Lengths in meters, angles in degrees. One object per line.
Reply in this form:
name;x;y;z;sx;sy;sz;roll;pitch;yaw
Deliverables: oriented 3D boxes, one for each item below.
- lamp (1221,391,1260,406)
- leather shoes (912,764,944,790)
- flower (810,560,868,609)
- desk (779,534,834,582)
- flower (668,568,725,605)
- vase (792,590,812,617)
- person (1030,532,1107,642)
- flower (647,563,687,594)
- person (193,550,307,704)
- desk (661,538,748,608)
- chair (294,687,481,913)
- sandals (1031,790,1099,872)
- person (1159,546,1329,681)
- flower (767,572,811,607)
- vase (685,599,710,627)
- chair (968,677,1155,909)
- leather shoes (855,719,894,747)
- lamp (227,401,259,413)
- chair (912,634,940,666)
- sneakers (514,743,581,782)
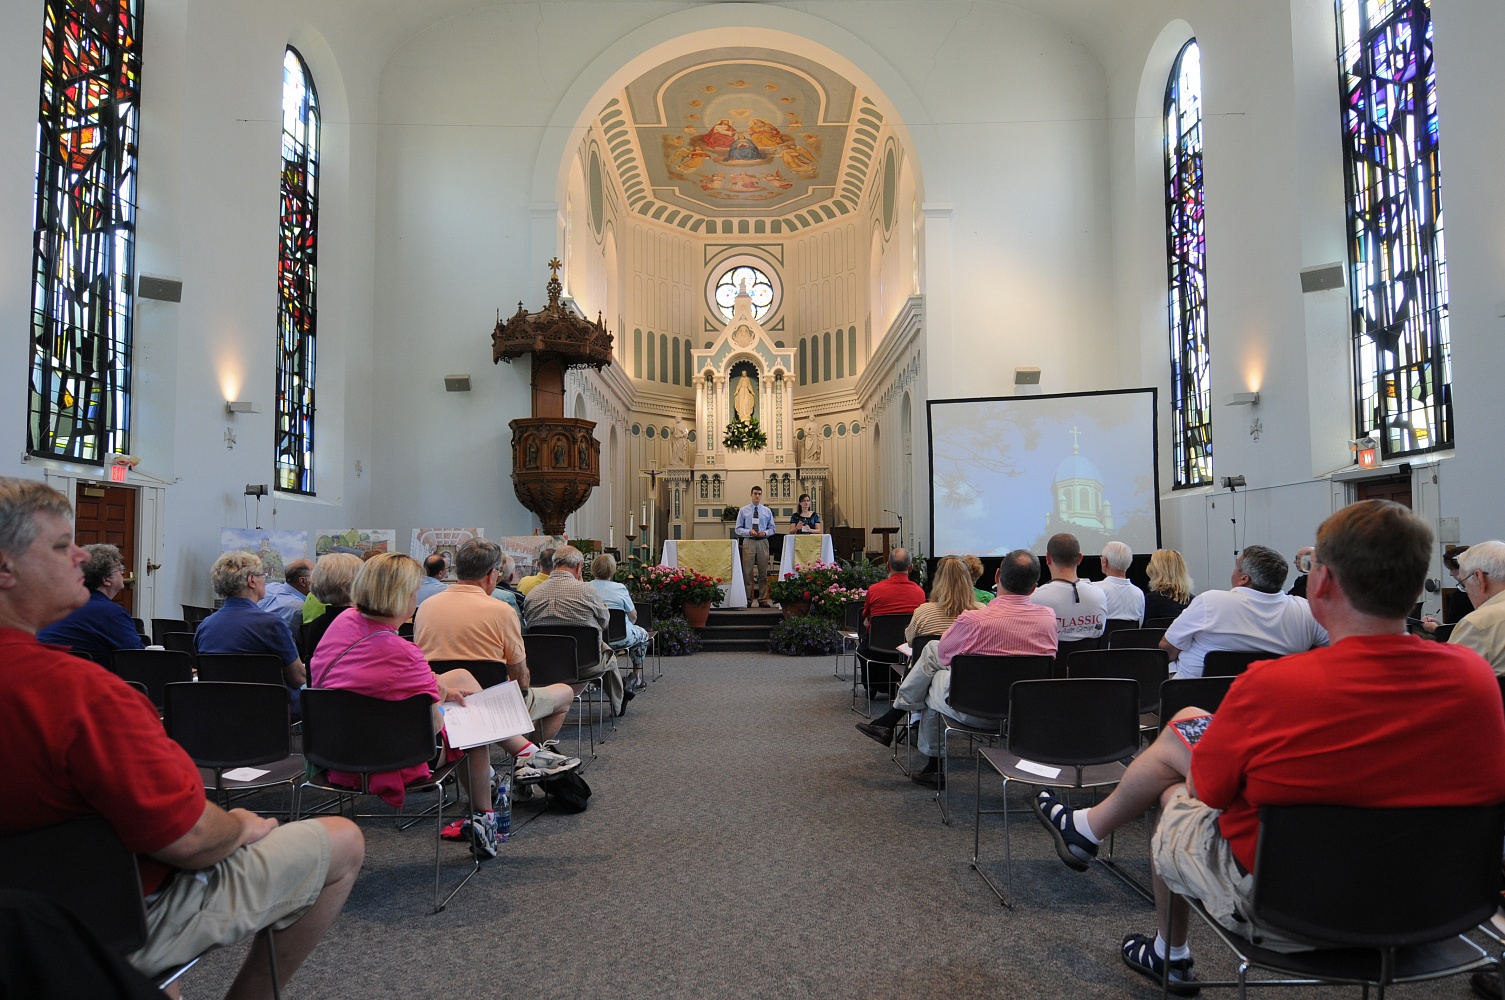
lamp;5.581;-1.158;13.482;0.156;0.186;0.465;-1;8;-5
leather shoes;1.243;1.928;8.274;0.253;0.254;0.123;4;-7;4
flower;1.063;1.122;15.860;0.582;0.429;0.607;2;2;34
desk;0.792;0.838;17.192;0.642;0.497;0.661;0;-3;4
flower;-0.778;1.158;15.859;0.468;0.336;0.474;6;-1;3
vase;0.664;1.426;15.998;0.245;0.182;0.244;-1;4;-31
person;2.197;0.636;8.351;0.564;0.800;0.538;-3;1;-31
flower;-1.147;1.031;15.660;0.346;0.304;0.351;1;2;-10
person;-3.346;0.901;7.964;0.732;1.125;0.757;0;-5;-40
desk;-0.635;1.065;16.903;1.008;0.761;1.002;1;0;0
chair;-2.127;1.602;6.920;0.908;1.314;0.902;0;4;2
sandals;1.582;1.621;5.974;0.177;0.207;0.499;14;22;-20
person;2.986;0.697;7.213;0.808;1.005;0.513;4;5;4
flower;0.549;1.219;15.989;0.420;0.396;0.426;3;-10;-16
vase;-0.737;1.529;15.948;0.301;0.233;0.309;1;-9;-6
chair;1.871;1.691;7.050;0.980;1.315;1.102;-2;-2;19
leather shoes;0.862;1.697;8.714;0.373;0.165;0.126;9;2;39
lamp;-5.957;-1.084;13.799;0.301;0.158;0.330;-5;9;-32
chair;1.229;1.030;8.309;0.151;0.263;0.175;5;-8;-15
sneakers;-1.306;1.650;7.456;0.457;0.237;0.185;0;-2;-4
